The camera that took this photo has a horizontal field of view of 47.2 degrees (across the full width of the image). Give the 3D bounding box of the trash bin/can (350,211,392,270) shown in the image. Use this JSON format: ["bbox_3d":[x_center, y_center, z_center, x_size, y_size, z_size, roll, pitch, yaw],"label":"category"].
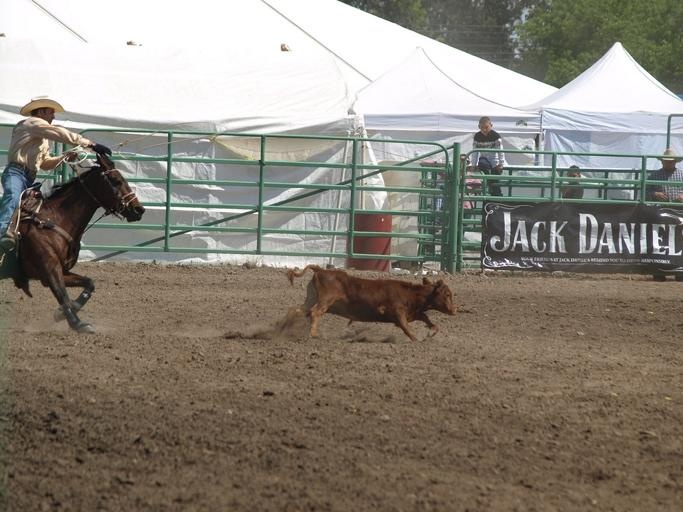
[{"bbox_3d":[0.475,-0.243,14.071,0.763,1.015,0.418,2,5,-3],"label":"trash bin/can"}]

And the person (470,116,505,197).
[{"bbox_3d":[2.639,-1.829,14.315,0.573,1.453,1.583,3,5,9],"label":"person"}]

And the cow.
[{"bbox_3d":[0.335,0.587,8.713,1.882,0.786,0.413,5,-11,-10],"label":"cow"}]
